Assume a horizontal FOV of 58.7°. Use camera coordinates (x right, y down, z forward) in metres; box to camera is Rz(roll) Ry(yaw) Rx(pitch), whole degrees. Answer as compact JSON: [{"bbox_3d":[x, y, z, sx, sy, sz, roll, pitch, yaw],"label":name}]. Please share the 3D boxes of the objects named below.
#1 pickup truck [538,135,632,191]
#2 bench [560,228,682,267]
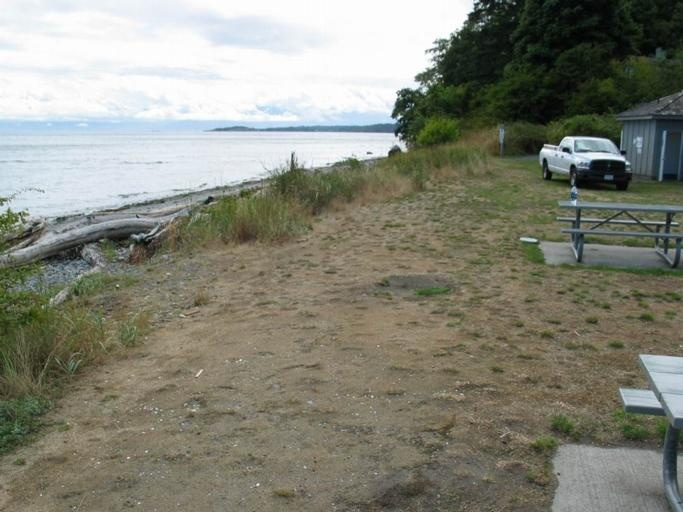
[{"bbox_3d":[8.116,-3.115,20.352,1.841,1.651,2.991,-4,14,-3],"label":"pickup truck"},{"bbox_3d":[5.360,-0.283,11.593,1.894,0.685,1.672,1,15,16],"label":"bench"}]
